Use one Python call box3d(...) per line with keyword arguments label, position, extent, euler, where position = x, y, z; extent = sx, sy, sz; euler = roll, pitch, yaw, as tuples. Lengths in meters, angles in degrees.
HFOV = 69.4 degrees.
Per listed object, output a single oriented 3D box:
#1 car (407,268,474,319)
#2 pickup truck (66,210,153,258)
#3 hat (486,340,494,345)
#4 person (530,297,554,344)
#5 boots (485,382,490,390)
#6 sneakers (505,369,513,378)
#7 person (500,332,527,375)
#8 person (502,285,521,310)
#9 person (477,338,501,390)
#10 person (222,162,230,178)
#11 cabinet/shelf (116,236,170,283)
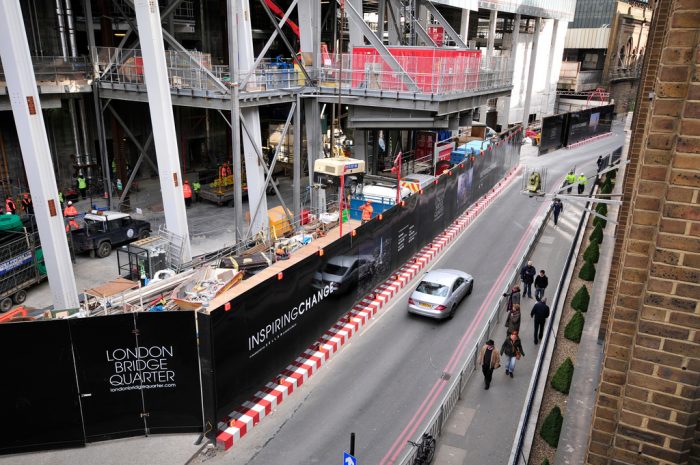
box3d(label="car", position=(4.022, 2.864, 23.074), extent=(2.831, 1.724, 1.521), euler=(-18, 22, -42))
box3d(label="pickup truck", position=(-14.234, -0.226, 30.067), extent=(2.395, 2.533, 4.429), euler=(11, 19, 31))
box3d(label="hat", position=(5.092, 3.985, 18.497), extent=(0.255, 0.102, 0.278), euler=(10, 15, 39))
box3d(label="person", position=(7.920, 3.629, 21.363), extent=(0.650, 1.730, 1.134), euler=(3, 17, 21))
box3d(label="boots", position=(5.019, 5.643, 18.768), extent=(0.097, 0.109, 0.251), euler=(4, 10, 32))
box3d(label="sneakers", position=(6.056, 5.358, 19.446), extent=(0.106, 0.247, 0.250), euler=(-32, 50, -18))
box3d(label="person", position=(6.139, 4.541, 19.300), extent=(0.864, 1.677, 0.611), euler=(6, 8, 13))
box3d(label="person", position=(6.920, 2.804, 21.966), extent=(0.536, 1.341, 0.639), euler=(14, 33, 18))
box3d(label="person", position=(5.100, 4.728, 18.836), extent=(0.690, 1.918, 0.762), euler=(2, 17, 17))
box3d(label="person", position=(-9.896, -4.998, 40.169), extent=(0.250, 1.026, 0.683), euler=(2, -1, 39))
box3d(label="cabinet/shelf", position=(-9.725, 1.279, 23.890), extent=(1.555, 1.549, 1.170), euler=(16, 28, 32))
